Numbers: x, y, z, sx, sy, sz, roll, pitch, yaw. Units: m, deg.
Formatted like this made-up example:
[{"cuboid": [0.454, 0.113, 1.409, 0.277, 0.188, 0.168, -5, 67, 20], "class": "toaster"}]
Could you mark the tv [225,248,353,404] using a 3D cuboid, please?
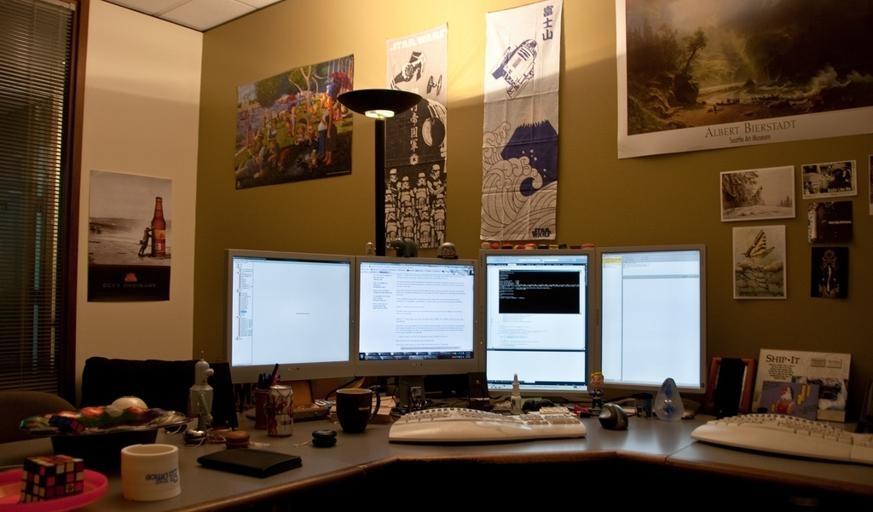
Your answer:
[{"cuboid": [-0.734, 0.343, 2.983, 0.844, 0.745, 0.133, 1, -5, -21], "class": "tv"}]

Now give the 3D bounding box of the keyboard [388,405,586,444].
[{"cuboid": [0.221, 0.763, 2.732, 0.572, 0.070, 0.301, -1, -3, -6], "class": "keyboard"}]

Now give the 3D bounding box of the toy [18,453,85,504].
[{"cuboid": [-1.364, 0.785, 2.198, 0.174, 0.156, 0.172, 6, -7, -44], "class": "toy"}]

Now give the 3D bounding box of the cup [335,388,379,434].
[{"cuboid": [-0.342, 0.701, 2.853, 0.188, 0.168, 0.257, -2, -6, 28], "class": "cup"}]

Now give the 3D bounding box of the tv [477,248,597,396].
[{"cuboid": [0.545, 0.372, 3.210, 0.846, 1.003, 0.080, 0, -3, 4], "class": "tv"}]

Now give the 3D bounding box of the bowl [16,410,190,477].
[{"cuboid": [-1.383, 0.747, 2.522, 0.646, 0.197, 0.625, 2, -5, 0], "class": "bowl"}]

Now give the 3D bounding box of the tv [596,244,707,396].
[{"cuboid": [1.092, 0.318, 3.166, 0.628, 0.755, 0.043, 2, -5, -14], "class": "tv"}]

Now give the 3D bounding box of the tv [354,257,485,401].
[{"cuboid": [-0.095, 0.348, 3.186, 0.831, 0.727, 0.103, 1, -4, -8], "class": "tv"}]

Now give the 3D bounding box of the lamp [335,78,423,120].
[{"cuboid": [-0.328, -0.910, 3.498, 0.335, 0.163, 0.315, -6, -7, 41], "class": "lamp"}]
